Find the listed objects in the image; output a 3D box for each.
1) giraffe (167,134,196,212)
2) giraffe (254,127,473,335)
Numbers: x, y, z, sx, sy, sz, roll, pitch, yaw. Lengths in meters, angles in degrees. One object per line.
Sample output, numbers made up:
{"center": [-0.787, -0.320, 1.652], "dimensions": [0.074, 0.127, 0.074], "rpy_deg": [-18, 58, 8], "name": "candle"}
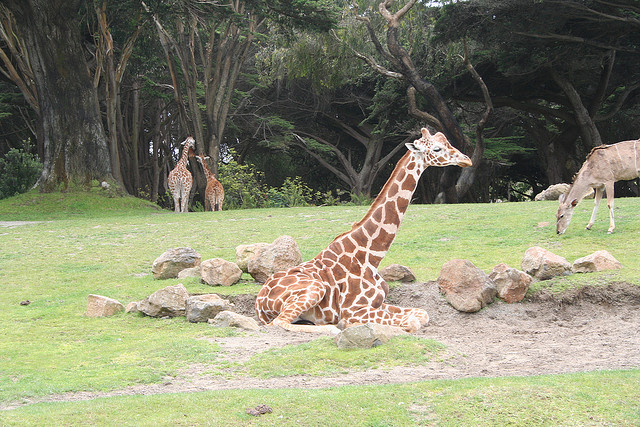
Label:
{"center": [-5.539, -1.569, 27.808], "dimensions": [0.849, 3.034, 1.603], "rpy_deg": [3, 2, -11], "name": "giraffe"}
{"center": [0.809, 0.471, 14.150], "dimensions": [4.676, 3.771, 2.371], "rpy_deg": [-6, 1, 4], "name": "giraffe"}
